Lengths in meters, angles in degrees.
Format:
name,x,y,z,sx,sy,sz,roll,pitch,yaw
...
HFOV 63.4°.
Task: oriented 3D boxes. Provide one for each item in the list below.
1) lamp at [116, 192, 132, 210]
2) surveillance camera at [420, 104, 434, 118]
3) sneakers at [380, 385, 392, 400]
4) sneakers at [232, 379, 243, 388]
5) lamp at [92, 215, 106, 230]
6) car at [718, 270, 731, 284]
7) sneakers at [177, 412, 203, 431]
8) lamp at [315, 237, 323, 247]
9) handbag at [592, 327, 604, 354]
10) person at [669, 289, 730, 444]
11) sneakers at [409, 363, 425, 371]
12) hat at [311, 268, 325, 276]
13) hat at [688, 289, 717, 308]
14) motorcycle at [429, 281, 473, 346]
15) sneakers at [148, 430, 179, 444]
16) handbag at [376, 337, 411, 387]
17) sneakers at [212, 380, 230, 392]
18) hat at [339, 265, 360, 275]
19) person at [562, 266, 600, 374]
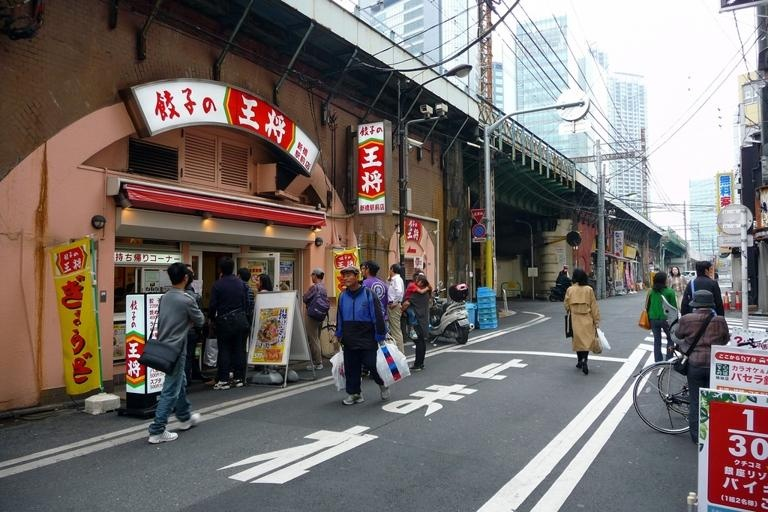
name,x,y,z,sx,sy,sz,roll,pitch,yaw
lamp,-5.409,-1.159,12.878,0.255,0.347,0.294,-4,7,-33
surveillance camera,1.361,-4.811,20.395,0.280,0.420,0.579,-3,-9,25
sneakers,0.011,2.664,12.163,0.166,0.200,0.465,-1,-19,0
sneakers,-3.156,2.719,13.377,0.271,0.133,0.107,3,-9,-15
lamp,-5.797,-0.687,12.736,0.221,0.359,0.338,-2,2,21
car,39.211,2.308,71.635,1.209,1.519,2.191,-1,-3,35
sneakers,-3.387,2.862,10.887,0.170,0.231,0.493,4,14,25
lamp,-1.871,-0.417,17.702,0.213,0.129,0.224,-9,-10,42
handbag,4.784,1.881,13.950,0.204,0.511,0.266,2,7,22
person,5.028,1.774,9.930,0.781,2.453,0.578,2,7,25
sneakers,0.742,2.592,14.551,0.313,0.140,0.128,6,-6,-25
hat,-1.559,0.409,14.803,0.214,0.165,0.348,17,-1,-18
hat,5.150,0.675,10.022,0.349,0.206,0.442,0,7,30
motorcycle,1.916,1.653,18.310,1.121,1.775,0.770,1,6,10
sneakers,-3.674,2.968,10.319,0.469,0.230,0.189,-2,2,-23
handbag,0.134,2.076,12.184,0.615,0.857,0.381,-1,6,-8
sneakers,-3.472,2.741,13.206,0.338,0.163,0.150,2,-2,-4
hat,-0.675,0.284,12.380,0.302,0.174,0.441,0,7,5
person,4.517,1.436,14.138,0.791,2.392,0.960,1,6,17
